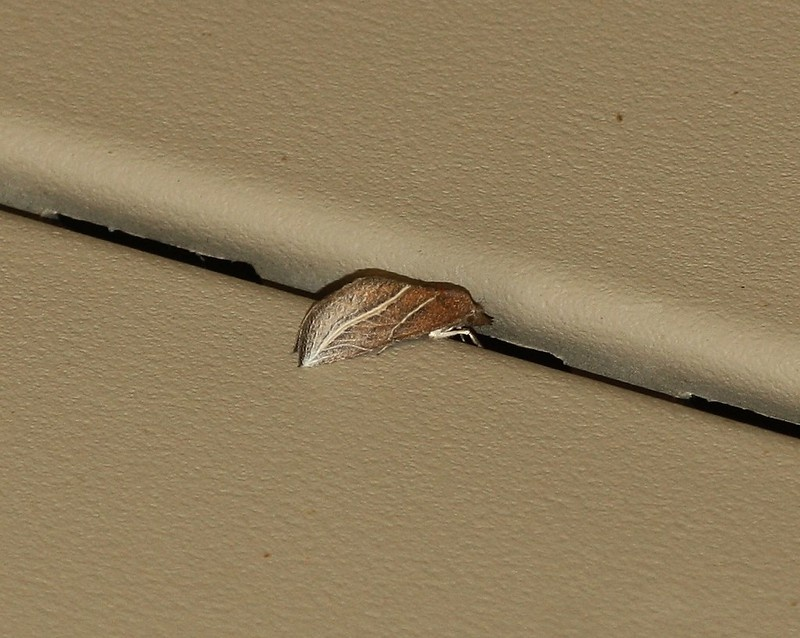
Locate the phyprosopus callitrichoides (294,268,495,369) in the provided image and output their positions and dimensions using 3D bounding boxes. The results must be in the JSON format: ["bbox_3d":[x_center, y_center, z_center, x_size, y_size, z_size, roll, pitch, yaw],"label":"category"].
[{"bbox_3d":[-0.028,-0.019,1.984,0.437,0.123,0.176,-6,86,-34],"label":"phyprosopus callitrichoides"}]
